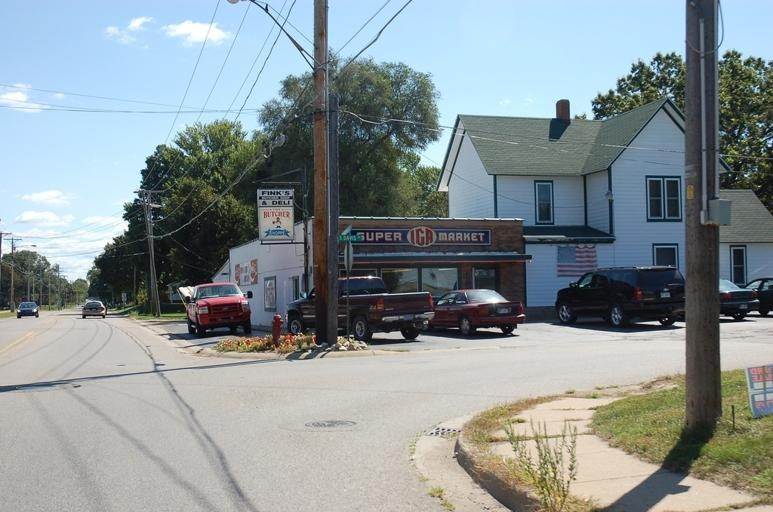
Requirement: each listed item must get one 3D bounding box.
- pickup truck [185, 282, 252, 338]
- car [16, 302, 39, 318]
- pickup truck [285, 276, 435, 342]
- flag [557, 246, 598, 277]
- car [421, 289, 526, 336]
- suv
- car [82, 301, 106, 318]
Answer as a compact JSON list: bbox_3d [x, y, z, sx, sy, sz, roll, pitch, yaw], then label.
[{"bbox_3d":[-7.192,2.219,34.423,1.770,1.328,3.313,0,-7,-23],"label":"pickup truck"},{"bbox_3d":[-33.570,5.004,77.241,1.428,1.186,3.286,0,-6,-17],"label":"car"},{"bbox_3d":[-1.015,1.784,28.573,2.160,1.586,4.438,2,-2,-41],"label":"pickup truck"},{"bbox_3d":[8.982,0.239,39.135,1.438,1.056,0.066,-2,0,-18],"label":"flag"},{"bbox_3d":[3.166,1.995,29.344,1.278,1.563,3.210,2,-5,-42],"label":"car"},{"bbox_3d":[8.568,1.462,30.085,2.069,1.406,3.867,2,0,-25],"label":"suv"},{"bbox_3d":[-26.261,4.881,74.358,1.397,1.022,3.064,-1,4,-11],"label":"car"}]
